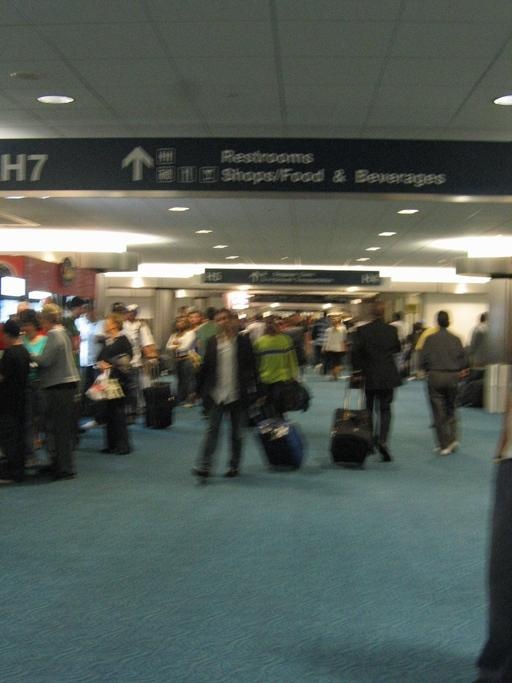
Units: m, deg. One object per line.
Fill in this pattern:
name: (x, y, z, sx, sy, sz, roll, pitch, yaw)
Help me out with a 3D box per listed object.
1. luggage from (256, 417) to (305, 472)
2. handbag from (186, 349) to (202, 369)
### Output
luggage: (0.281, 1.225, 5.864, 0.449, 0.500, 0.359, -19, 28, 13)
handbag: (-1.042, 0.296, 8.323, 0.111, 0.271, 0.202, -26, -21, 0)
